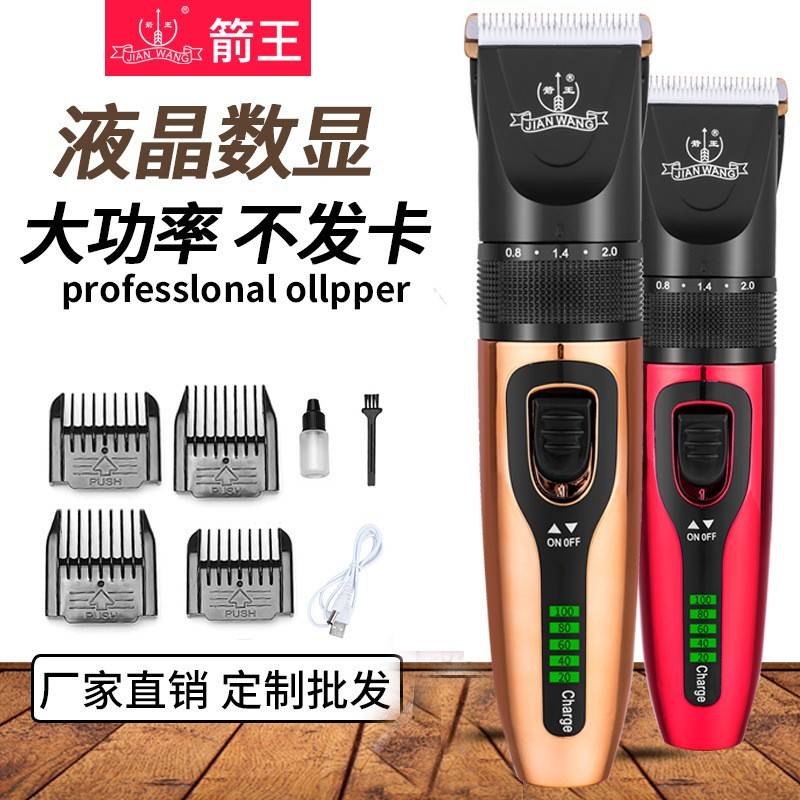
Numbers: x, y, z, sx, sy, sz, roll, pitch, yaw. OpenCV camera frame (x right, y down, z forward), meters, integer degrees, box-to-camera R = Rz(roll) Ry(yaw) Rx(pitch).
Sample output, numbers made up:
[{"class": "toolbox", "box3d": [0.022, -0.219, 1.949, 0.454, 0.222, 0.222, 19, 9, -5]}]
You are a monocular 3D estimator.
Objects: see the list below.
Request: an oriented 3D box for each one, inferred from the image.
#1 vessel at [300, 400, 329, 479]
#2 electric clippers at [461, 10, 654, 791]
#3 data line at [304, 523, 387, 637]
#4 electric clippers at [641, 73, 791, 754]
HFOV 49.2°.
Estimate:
[{"class": "vessel", "box3d": [-0.127, 0.058, 1.282, 0.044, 0.118, 0.026, -2, 3, -9]}, {"class": "electric clippers", "box3d": [0.162, 0.003, 0.888, 0.184, 0.810, 0.116, -1, 3, 14]}, {"class": "data line", "box3d": [-0.074, 0.270, 1.318, 0.085, 0.194, 0.025, 36, -15, -2]}, {"class": "electric clippers", "box3d": [0.373, 0.013, 1.024, 0.177, 0.795, 0.111, -1, 3, 8]}]
